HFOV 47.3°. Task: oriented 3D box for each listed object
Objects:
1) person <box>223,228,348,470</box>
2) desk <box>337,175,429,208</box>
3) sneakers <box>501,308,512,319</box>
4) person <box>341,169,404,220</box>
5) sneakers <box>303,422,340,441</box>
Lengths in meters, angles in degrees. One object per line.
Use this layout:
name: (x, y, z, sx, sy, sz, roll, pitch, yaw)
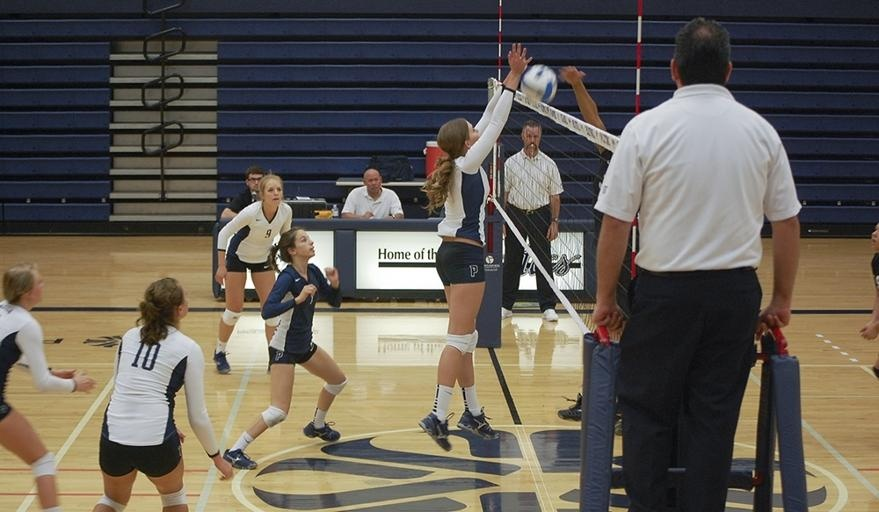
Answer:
person: (-1.699, 1.040, 11.527, 1.265, 2.716, 0.545, 2, 0, -16)
desk: (-0.772, -1.203, 18.034, 1.351, 0.593, 0.694, 0, 6, -3)
sneakers: (0.983, 0.829, 14.792, 0.212, 0.178, 0.442, 0, -5, 7)
person: (-1.034, -0.877, 15.794, 1.038, 0.921, 0.872, -1, 5, -7)
sneakers: (-1.360, 2.043, 11.690, 0.429, 0.181, 0.194, 8, 19, -15)
